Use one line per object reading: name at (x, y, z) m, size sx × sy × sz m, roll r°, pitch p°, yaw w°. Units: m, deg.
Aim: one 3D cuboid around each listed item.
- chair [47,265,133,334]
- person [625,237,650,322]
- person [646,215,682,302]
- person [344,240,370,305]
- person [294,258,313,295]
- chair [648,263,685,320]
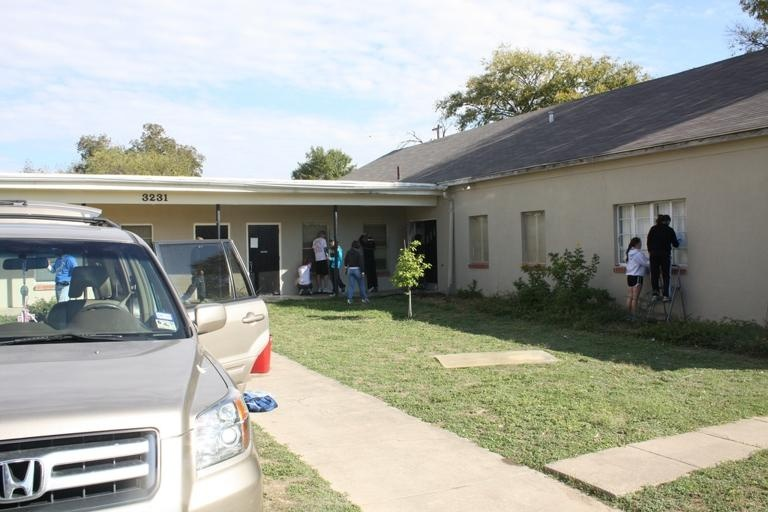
chair at (-2.410, 0.457, 5.057) m, size 0.445 × 0.665 × 0.688 m, roll 2°, pitch 7°, yaw -22°
person at (5.264, 0.409, 12.872) m, size 0.418 × 1.563 × 0.835 m, roll 1°, pitch 7°, yaw 23°
person at (5.627, 0.046, 12.549) m, size 0.481 × 1.724 × 0.408 m, roll -4°, pitch 7°, yaw -22°
person at (-0.769, 0.443, 17.235) m, size 0.573 × 1.786 × 1.455 m, roll -2°, pitch 6°, yaw -3°
person at (-2.568, 0.679, 19.849) m, size 0.499 × 1.143 × 0.812 m, roll -2°, pitch 6°, yaw -7°
chair at (5.763, 0.822, 12.801) m, size 0.641 × 0.993 × 0.722 m, roll 2°, pitch -13°, yaw -26°
